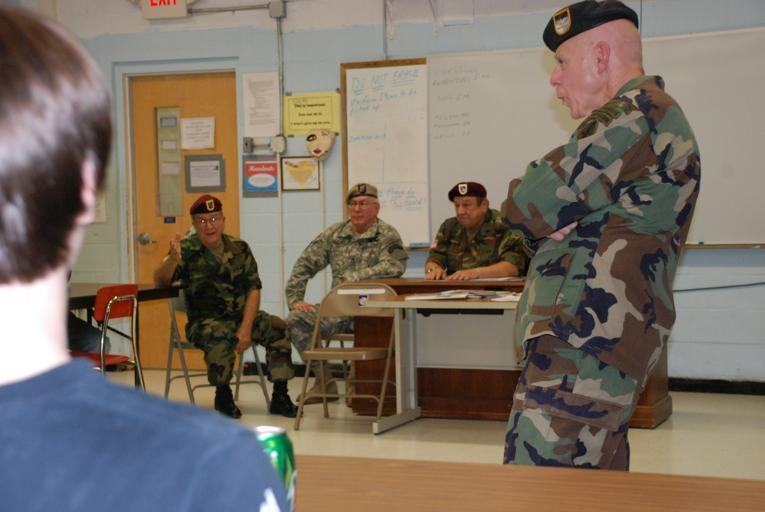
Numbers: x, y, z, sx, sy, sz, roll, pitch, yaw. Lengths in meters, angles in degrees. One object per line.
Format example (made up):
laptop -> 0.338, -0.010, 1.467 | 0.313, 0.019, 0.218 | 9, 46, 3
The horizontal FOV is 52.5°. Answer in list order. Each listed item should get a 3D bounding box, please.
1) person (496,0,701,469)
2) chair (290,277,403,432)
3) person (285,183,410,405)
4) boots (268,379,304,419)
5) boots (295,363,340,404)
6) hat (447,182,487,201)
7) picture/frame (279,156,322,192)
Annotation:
person -> 0.444, -0.065, 1.759 | 0.512, 1.078, 0.335 | -2, 6, -32
chair -> -0.123, 0.619, 4.292 | 0.584, 0.836, 0.575 | 17, -29, -6
person -> -0.238, 0.220, 5.045 | 0.818, 1.366, 0.812 | -3, 5, -14
boots -> -0.561, 0.821, 4.501 | 0.193, 0.197, 0.093 | 5, 4, 29
boots -> -0.420, 0.813, 4.939 | 0.274, 0.269, 0.127 | -3, -19, -25
hat -> 0.532, -0.404, 4.874 | 0.205, 0.125, 0.195 | 0, 5, -6
picture/frame -> -0.585, -0.605, 5.659 | 0.253, 0.221, 0.018 | 2, 1, 13
